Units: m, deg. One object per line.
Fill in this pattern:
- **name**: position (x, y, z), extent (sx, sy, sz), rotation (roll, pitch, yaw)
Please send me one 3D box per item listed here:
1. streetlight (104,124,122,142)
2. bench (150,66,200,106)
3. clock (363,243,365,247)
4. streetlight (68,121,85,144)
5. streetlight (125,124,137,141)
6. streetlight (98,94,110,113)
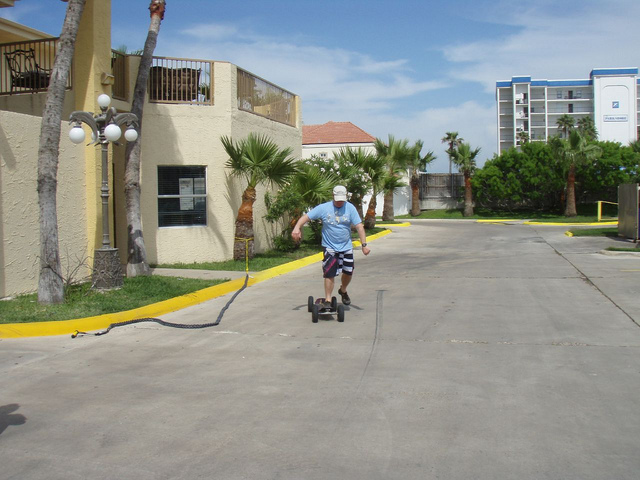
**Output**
- **streetlight**: position (-4.314, -2.210, 11.747), extent (0.311, 0.335, 0.400), rotation (-3, 7, -20)
- **bench**: position (-4.255, -4.582, 16.757), extent (1.603, 1.122, 0.063), rotation (2, 9, 7)
- **clock**: position (0.774, 0.092, 9.999), extent (0.047, 0.069, 0.061), rotation (0, 5, 2)
- **streetlight**: position (-4.920, -2.154, 11.452), extent (0.256, 0.410, 0.375), rotation (-3, 7, -20)
- **streetlight**: position (-4.192, -2.316, 12.528), extent (0.231, 0.279, 0.376), rotation (-3, 7, -20)
- **streetlight**: position (-4.581, -2.862, 12.003), extent (0.225, 0.371, 0.382), rotation (-4, 7, -21)
